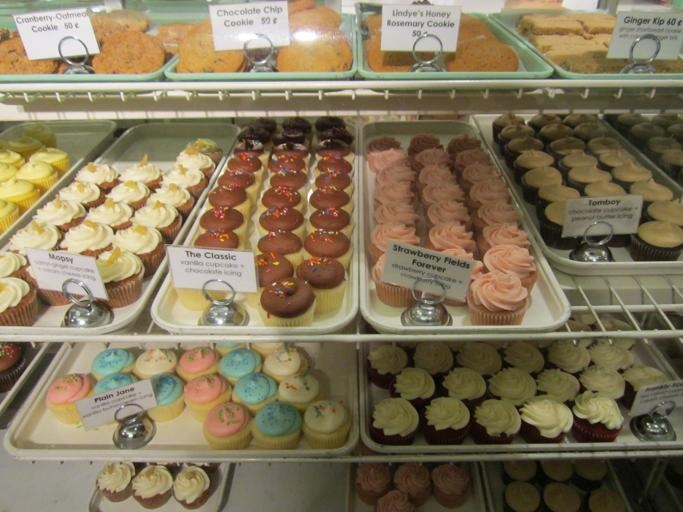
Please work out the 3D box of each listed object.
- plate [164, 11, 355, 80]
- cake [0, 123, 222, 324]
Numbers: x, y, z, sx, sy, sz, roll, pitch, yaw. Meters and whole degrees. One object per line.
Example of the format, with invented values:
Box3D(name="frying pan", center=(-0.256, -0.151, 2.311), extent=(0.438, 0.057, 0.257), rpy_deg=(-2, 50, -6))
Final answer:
Box3D(name="plate", center=(-0.272, -0.745, 1.764), extent=(0.658, 0.143, 0.455), rpy_deg=(-1, 36, 1))
Box3D(name="cake", center=(-0.951, -0.207, 2.230), extent=(0.723, 0.122, 0.968), rpy_deg=(6, 35, 8))
